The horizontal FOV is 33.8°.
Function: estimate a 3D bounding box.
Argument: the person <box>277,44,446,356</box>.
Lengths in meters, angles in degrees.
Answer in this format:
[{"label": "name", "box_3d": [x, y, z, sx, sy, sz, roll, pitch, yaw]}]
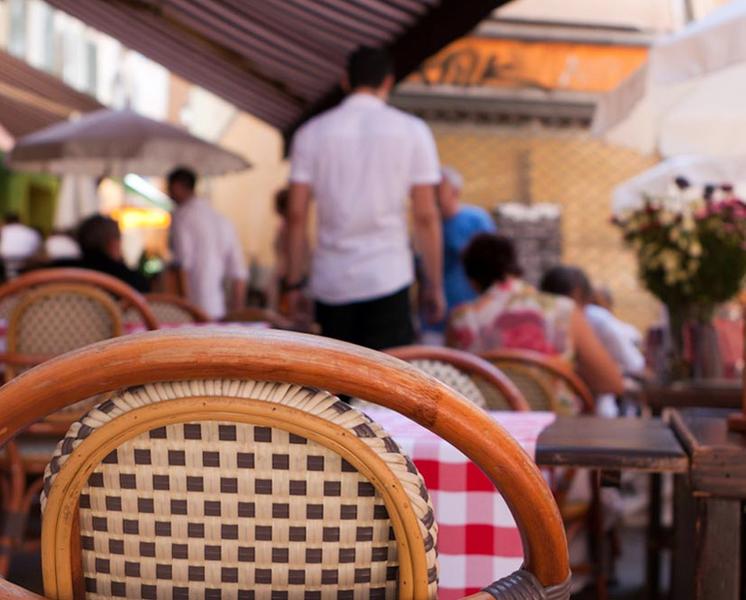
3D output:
[{"label": "person", "box_3d": [-0.018, -0.061, 2.528, 0.303, 0.905, 0.197, 0, 15, 3]}]
